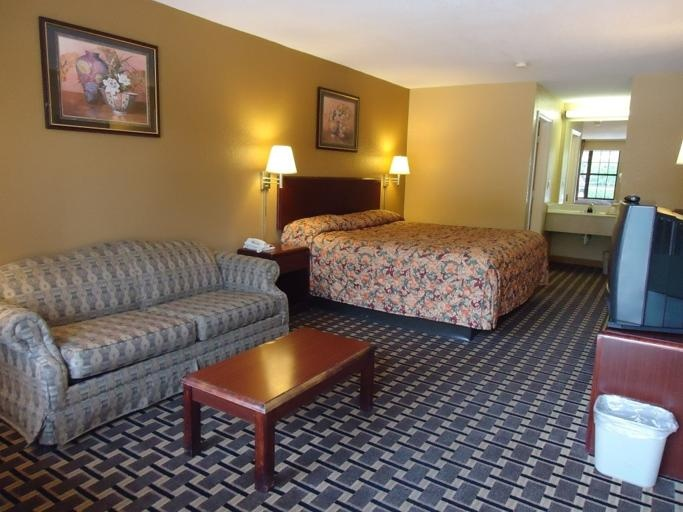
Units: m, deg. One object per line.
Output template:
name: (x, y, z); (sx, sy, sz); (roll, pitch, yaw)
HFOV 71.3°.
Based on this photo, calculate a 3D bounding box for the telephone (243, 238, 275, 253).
telephone: (-0.774, -0.097, 4.494); (0.180, 0.070, 0.189); (6, 8, 20)

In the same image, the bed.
bed: (0.826, -0.196, 5.252); (2.421, 1.383, 2.172); (9, 13, 38)

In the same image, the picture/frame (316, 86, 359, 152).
picture/frame: (-0.027, -1.606, 5.655); (0.025, 0.641, 0.743); (-10, 23, -37)

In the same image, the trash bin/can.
trash bin/can: (1.555, 0.994, 2.527); (0.401, 0.429, 0.275); (5, 9, 38)

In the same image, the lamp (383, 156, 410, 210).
lamp: (0.737, -0.938, 6.729); (0.350, 1.037, 0.242); (2, 30, 3)

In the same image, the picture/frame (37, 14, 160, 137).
picture/frame: (-1.804, -1.330, 3.487); (0.043, 0.837, 1.011); (3, 5, 34)

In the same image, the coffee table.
coffee table: (-0.422, 0.613, 2.693); (0.637, 0.448, 1.043); (6, 10, 31)
